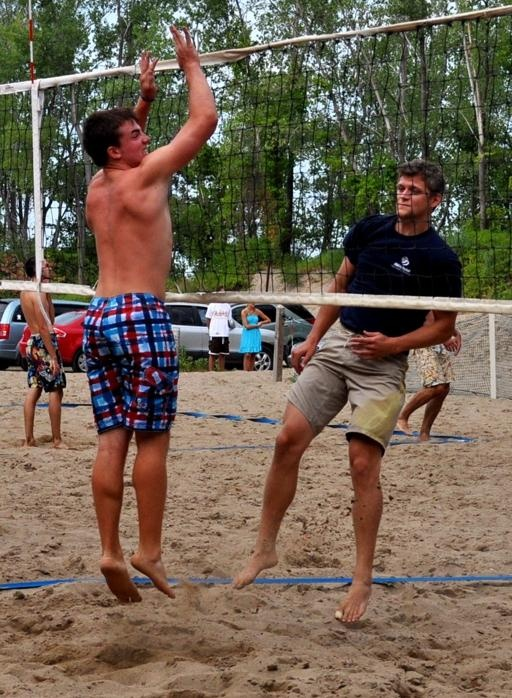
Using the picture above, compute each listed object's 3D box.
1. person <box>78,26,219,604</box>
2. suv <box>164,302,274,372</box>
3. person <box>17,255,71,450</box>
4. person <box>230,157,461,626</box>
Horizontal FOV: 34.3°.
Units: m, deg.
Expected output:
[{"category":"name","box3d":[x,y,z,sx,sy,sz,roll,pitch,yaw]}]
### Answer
[{"category":"person","box3d":[-0.387,-0.145,3.084,0.483,2.140,0.460,-2,2,-17]},{"category":"suv","box3d":[-0.481,-0.328,16.158,2.304,0.937,1.015,-2,1,-9]},{"category":"person","box3d":[-1.756,0.020,6.852,0.343,1.539,1.102,-2,2,-15]},{"category":"person","box3d":[0.428,0.129,3.474,0.972,1.852,0.736,-2,2,-8]}]
